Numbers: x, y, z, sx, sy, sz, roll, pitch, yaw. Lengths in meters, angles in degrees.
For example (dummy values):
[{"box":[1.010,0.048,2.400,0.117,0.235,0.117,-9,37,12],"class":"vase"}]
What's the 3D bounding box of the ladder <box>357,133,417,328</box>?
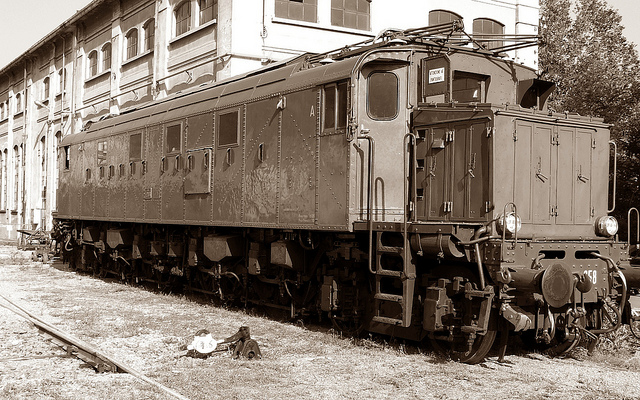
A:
[{"box":[1.596,0.615,14.086,1.040,4.152,1.315,1,7,6],"class":"ladder"}]
